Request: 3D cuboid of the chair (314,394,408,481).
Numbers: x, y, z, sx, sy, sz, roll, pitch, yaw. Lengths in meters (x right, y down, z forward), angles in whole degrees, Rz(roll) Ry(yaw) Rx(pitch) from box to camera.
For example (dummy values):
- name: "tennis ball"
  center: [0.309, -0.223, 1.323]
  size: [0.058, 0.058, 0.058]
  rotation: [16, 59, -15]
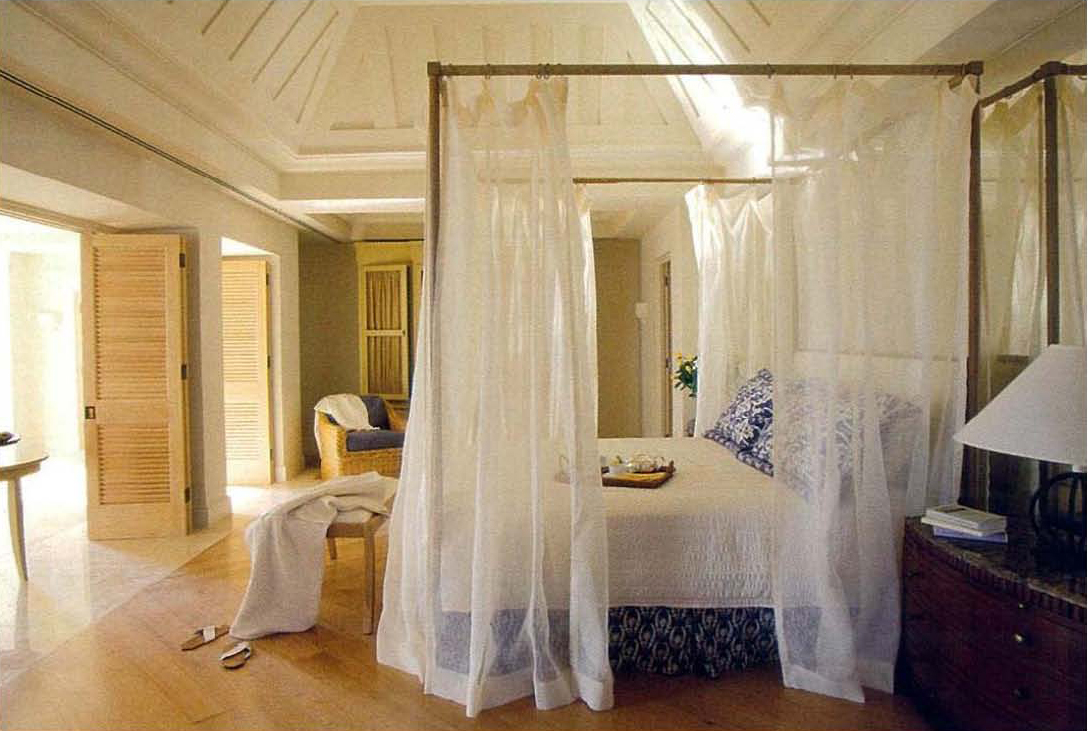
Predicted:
- name: "chair"
  center: [-1.833, 0.704, 8.308]
  size: [0.910, 0.747, 0.777]
  rotation: [0, 4, -32]

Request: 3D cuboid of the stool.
- name: "stool"
  center: [-1.305, 1.187, 5.450]
  size: [0.834, 0.712, 0.978]
  rotation: [-1, 4, -5]

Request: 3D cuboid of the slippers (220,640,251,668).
- name: "slippers"
  center: [-1.821, 1.717, 4.860]
  size: [0.178, 0.096, 0.205]
  rotation: [-1, -1, -20]

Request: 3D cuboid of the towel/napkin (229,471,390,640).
- name: "towel/napkin"
  center: [-1.552, 1.162, 5.367]
  size: [0.731, 0.431, 1.088]
  rotation: [-1, 16, -6]

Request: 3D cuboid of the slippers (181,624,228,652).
- name: "slippers"
  center: [-2.084, 1.670, 5.059]
  size: [0.275, 0.098, 0.232]
  rotation: [-1, -2, -19]
